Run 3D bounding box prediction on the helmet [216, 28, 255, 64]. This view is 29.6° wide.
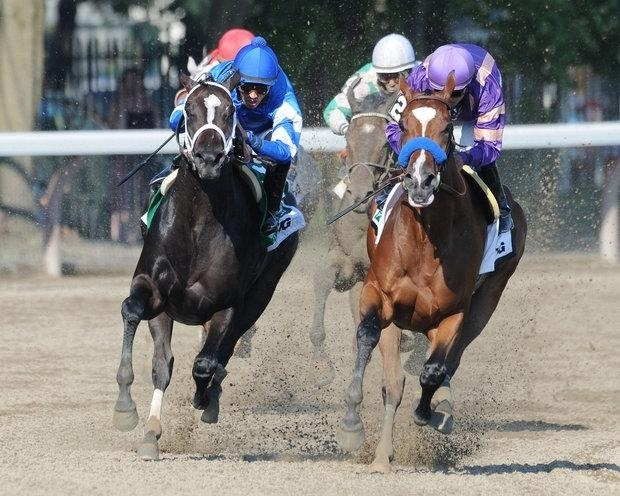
[{"bbox_3d":[-0.645,-1.675,10.171,0.341,0.378,0.133,-17,-34,9],"label":"helmet"}]

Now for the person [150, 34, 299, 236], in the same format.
[{"bbox_3d":[-0.476,-0.758,9.173,0.916,1.562,2.437,7,15,9],"label":"person"}]

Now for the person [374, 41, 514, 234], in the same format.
[{"bbox_3d":[0.866,-0.985,8.510,0.503,1.108,1.909,-4,36,21],"label":"person"}]

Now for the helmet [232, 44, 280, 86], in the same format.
[{"bbox_3d":[-0.378,-1.373,8.532,0.211,0.359,0.213,2,-26,-15],"label":"helmet"}]

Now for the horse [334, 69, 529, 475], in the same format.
[{"bbox_3d":[0.855,0.148,8.436,0.669,2.784,1.677,10,17,34],"label":"horse"}]

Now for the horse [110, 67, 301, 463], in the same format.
[{"bbox_3d":[-0.767,0.106,8.542,0.728,2.740,1.609,11,17,37],"label":"horse"}]

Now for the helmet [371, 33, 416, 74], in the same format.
[{"bbox_3d":[0.700,-1.633,9.878,0.254,0.325,0.380,2,28,9],"label":"helmet"}]

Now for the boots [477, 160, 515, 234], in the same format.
[{"bbox_3d":[1.421,-0.426,8.844,0.159,0.736,0.334,-11,-2,32],"label":"boots"}]
